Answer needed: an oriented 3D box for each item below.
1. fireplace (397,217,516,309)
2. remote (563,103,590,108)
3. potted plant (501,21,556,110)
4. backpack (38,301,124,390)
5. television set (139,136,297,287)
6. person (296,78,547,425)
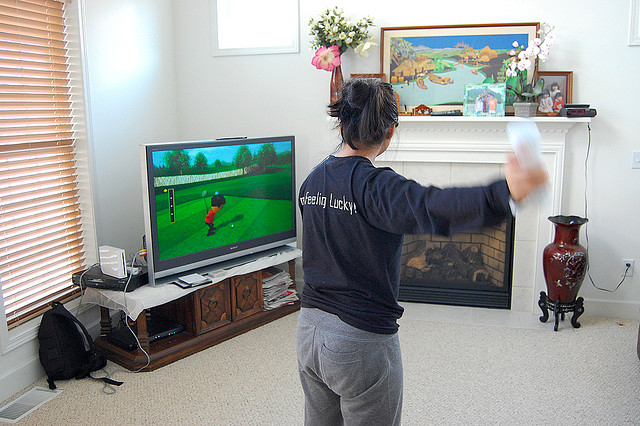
[{"bbox_3d":[1.261,0.483,4.135,0.926,0.796,0.326,1,-2,12],"label":"fireplace"},{"bbox_3d":[2.297,-0.971,4.229,0.206,0.039,0.149,5,15,25],"label":"remote"},{"bbox_3d":[1.903,-1.323,4.370,0.412,0.892,0.407,6,3,4],"label":"potted plant"},{"bbox_3d":[-1.918,0.987,3.759,0.617,0.667,0.409,-8,-4,12],"label":"backpack"},{"bbox_3d":[-0.865,-0.066,4.338,0.298,1.189,1.555,7,13,41],"label":"television set"},{"bbox_3d":[0.320,0.262,2.082,0.890,1.668,0.369,4,15,21],"label":"person"}]
